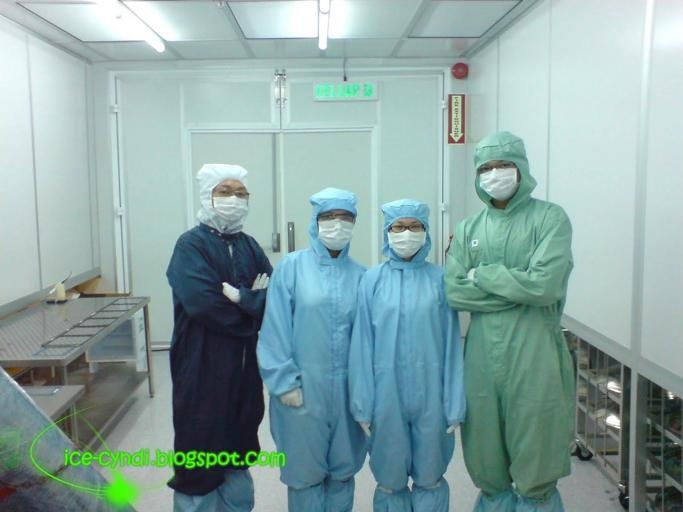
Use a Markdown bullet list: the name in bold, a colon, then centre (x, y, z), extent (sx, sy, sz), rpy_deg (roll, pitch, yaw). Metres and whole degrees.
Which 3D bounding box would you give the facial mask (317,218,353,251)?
- **facial mask**: centre (-0.026, -0.105, 2.791), extent (0.142, 0.122, 0.149), rpy_deg (0, 1, -9)

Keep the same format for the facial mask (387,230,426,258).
- **facial mask**: centre (0.321, -0.064, 2.780), extent (0.132, 0.092, 0.141), rpy_deg (-1, 15, 1)

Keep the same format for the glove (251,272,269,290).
- **glove**: centre (-0.426, 0.130, 2.962), extent (0.074, 0.079, 0.027), rpy_deg (18, -18, 40)

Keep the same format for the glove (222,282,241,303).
- **glove**: centre (-0.557, 0.180, 2.853), extent (0.096, 0.037, 0.072), rpy_deg (47, 44, 14)

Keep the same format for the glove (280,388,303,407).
- **glove**: centre (-0.242, 0.678, 2.721), extent (0.096, 0.078, 0.042), rpy_deg (2, 11, 7)

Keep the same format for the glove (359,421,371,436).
- **glove**: centre (0.116, 0.825, 2.746), extent (0.028, 0.083, 0.062), rpy_deg (-19, -6, 2)
